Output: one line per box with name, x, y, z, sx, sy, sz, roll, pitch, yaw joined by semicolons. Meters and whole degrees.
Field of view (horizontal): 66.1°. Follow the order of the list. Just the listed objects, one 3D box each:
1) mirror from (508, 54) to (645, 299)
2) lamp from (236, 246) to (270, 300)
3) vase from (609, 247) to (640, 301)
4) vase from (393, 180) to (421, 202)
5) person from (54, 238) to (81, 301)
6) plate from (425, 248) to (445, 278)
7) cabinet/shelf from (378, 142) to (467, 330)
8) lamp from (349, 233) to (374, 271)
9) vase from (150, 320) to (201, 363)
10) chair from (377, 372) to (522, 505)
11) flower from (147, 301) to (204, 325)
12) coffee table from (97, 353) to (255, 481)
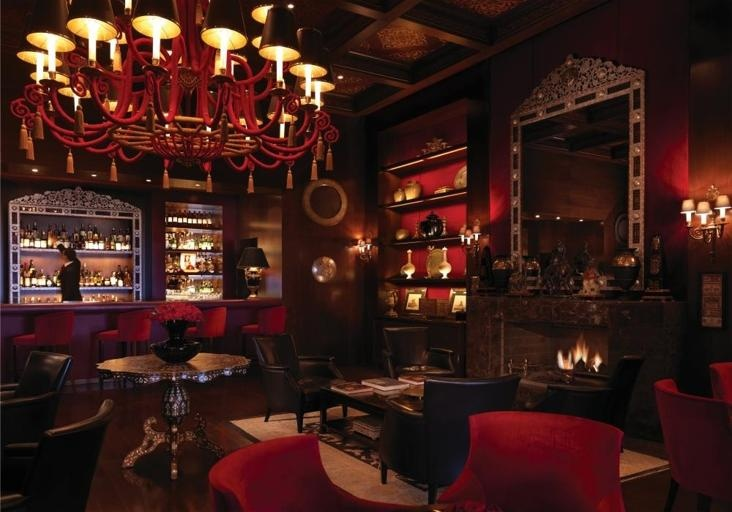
mirror;2.616;-1.231;7.017;0.212;2.571;1.779;-4;6;-40
lamp;-2.023;0.312;10.165;0.541;0.932;1.035;-1;4;-10
vase;2.948;0.184;6.340;0.341;0.532;0.219;-1;4;-2
vase;0.712;-1.116;9.743;0.185;0.236;0.450;9;-10;-23
person;-4.727;0.283;8.970;0.278;0.870;0.486;-3;5;-29
plate;1.128;0.123;9.344;0.070;0.409;0.394;4;0;-30
cabinet/shelf;0.966;-0.339;9.359;0.854;2.768;1.986;-3;5;-29
lamp;-0.009;-0.086;10.132;0.543;0.506;0.258;2;5;34
vase;-1.847;0.834;5.474;0.443;0.392;0.431;0;1;-11
chair;0.622;1.456;4.826;0.939;1.190;1.066;3;-4;-24
flower;-1.769;0.552;5.447;0.375;0.224;0.386;2;-2;32
coffee table;-1.913;1.390;5.549;1.216;0.921;1.213;3;-8;-24
